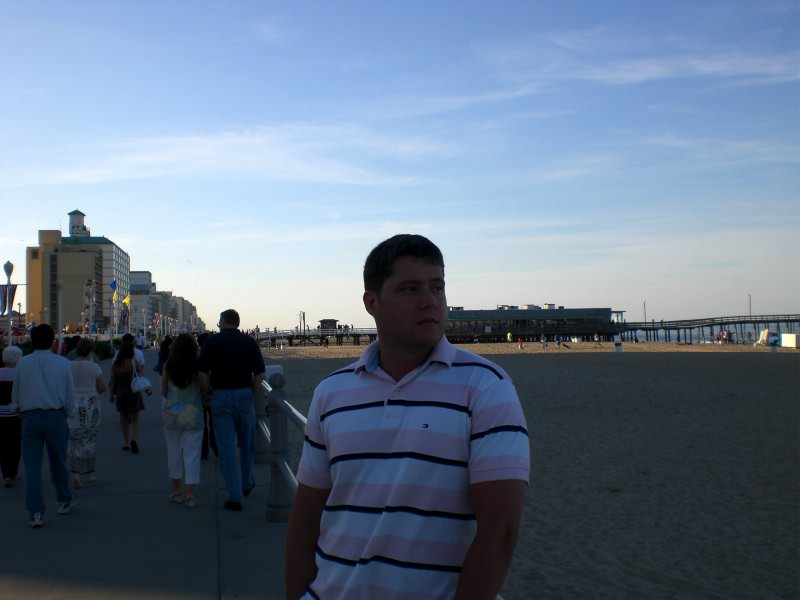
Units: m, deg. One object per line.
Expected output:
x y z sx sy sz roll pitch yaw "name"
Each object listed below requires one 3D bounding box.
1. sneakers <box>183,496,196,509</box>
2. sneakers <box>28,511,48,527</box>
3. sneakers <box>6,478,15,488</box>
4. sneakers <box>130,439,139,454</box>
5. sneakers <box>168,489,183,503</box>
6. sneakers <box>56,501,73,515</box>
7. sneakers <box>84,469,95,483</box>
-2.531 2.462 9.075 0.156 0.160 0.099 -2 -3 21 "sneakers"
-4.025 2.454 8.392 0.138 0.113 0.221 6 -6 -33 "sneakers"
-5.447 2.591 10.497 0.096 0.140 0.138 3 -11 -29 "sneakers"
-4.506 2.517 12.735 0.136 0.156 0.380 1 -9 -19 "sneakers"
-2.776 2.446 9.297 0.089 0.164 0.231 0 5 -24 "sneakers"
-3.923 2.437 8.805 0.104 0.117 0.287 1 1 -8 "sneakers"
-4.306 2.438 10.375 0.183 0.186 0.097 0 4 -28 "sneakers"
